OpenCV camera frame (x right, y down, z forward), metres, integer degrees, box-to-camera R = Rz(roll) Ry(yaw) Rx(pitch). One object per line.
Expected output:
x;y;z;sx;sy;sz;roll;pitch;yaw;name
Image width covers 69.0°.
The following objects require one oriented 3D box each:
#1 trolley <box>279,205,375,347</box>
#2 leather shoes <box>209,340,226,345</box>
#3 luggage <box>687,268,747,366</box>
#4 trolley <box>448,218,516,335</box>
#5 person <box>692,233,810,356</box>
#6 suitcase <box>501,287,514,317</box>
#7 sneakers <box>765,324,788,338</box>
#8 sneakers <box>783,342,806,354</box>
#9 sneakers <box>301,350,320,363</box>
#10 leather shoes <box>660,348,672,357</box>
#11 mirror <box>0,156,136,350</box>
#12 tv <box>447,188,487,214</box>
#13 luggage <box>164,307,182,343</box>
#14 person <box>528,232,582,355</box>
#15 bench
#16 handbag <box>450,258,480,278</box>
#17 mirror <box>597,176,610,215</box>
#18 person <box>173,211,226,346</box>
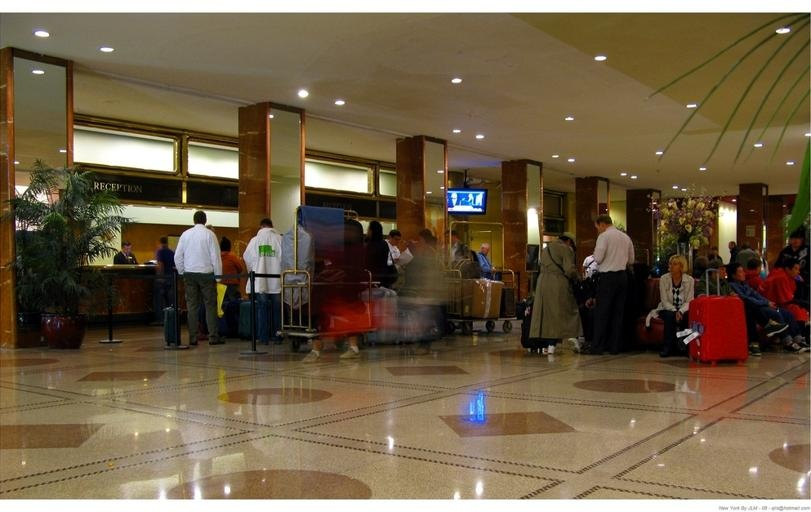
-0.941;0.282;7.205;1.092;1.778;0.654;0;1;-12;trolley
-2.746;1.257;8.668;0.236;0.088;0.083;-1;2;-36;leather shoes
3.621;0.725;6.826;0.539;0.870;0.581;11;-13;-30;luggage
1.317;0.369;10.547;1.269;1.797;0.981;0;1;-25;trolley
3.815;0.513;6.532;0.678;1.426;1.089;16;-37;11;person
1.867;0.829;10.618;0.159;0.527;0.589;1;1;27;suitcase
4.744;0.960;7.576;0.228;0.211;0.301;1;1;32;sneakers
5.035;1.201;7.672;0.308;0.122;0.109;0;-1;6;sneakers
-1.097;1.179;6.900;0.116;0.084;0.207;-4;-8;28;sneakers
3.217;1.213;7.336;0.062;0.122;0.179;-2;-12;6;leather shoes
-4.711;0.012;8.068;1.518;2.507;0.666;0;1;7;mirror
1.786;-1.634;17.447;1.003;0.548;0.128;1;-5;-12;tv
-3.235;0.977;8.214;0.186;0.555;0.401;0;1;-20;luggage
1.910;0.479;7.592;0.644;1.514;0.300;0;1;-13;person
3.333;0.754;7.364;0.712;1.359;0.803;3;-26;16;bench
1.020;0.201;10.137;0.274;0.288;0.438;20;-6;-15;handbag
6.618;-1.952;19.704;0.363;0.963;3.207;0;1;19;mirror
-2.964;0.314;8.515;0.651;1.994;1.382;0;1;-18;person
